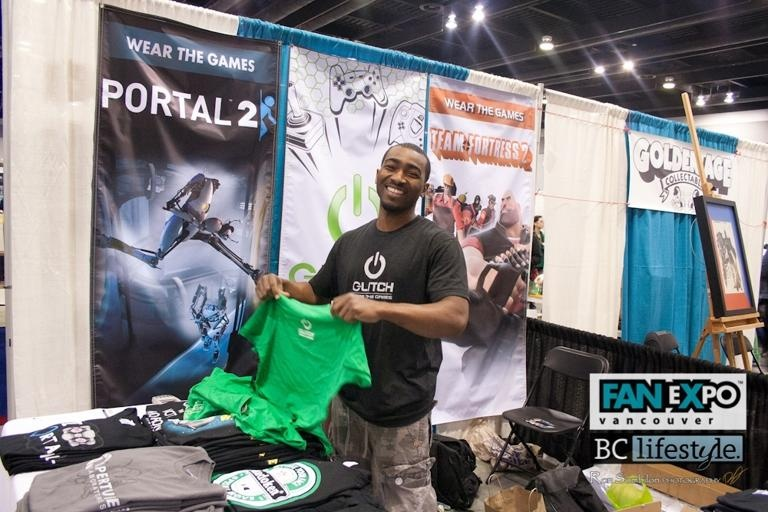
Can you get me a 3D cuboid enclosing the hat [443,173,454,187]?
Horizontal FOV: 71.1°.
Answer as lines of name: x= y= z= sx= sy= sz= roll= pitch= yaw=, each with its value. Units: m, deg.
hat: x=0.518 y=-0.615 z=4.404 sx=0.043 sy=0.098 sz=0.071 roll=-30 pitch=-38 yaw=35
